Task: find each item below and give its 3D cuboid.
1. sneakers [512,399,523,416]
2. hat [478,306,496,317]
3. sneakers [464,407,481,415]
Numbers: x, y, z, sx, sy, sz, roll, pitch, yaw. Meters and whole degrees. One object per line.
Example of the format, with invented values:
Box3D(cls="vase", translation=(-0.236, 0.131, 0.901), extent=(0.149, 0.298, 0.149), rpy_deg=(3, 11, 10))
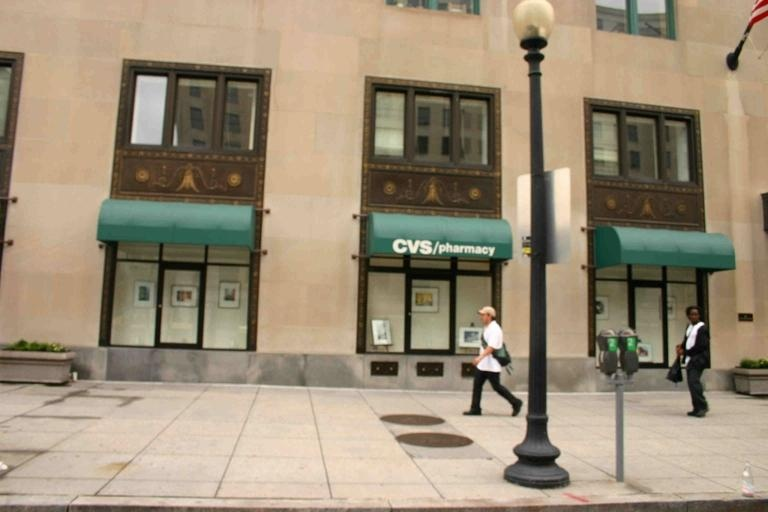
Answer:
Box3D(cls="sneakers", translation=(3.179, 3.597, 19.022), extent=(0.220, 0.167, 0.492), rpy_deg=(3, -44, 0))
Box3D(cls="hat", translation=(2.494, 1.319, 19.174), extent=(0.525, 0.239, 0.343), rpy_deg=(8, 0, 11))
Box3D(cls="sneakers", translation=(2.124, 3.708, 19.120), extent=(0.488, 0.195, 0.162), rpy_deg=(3, -6, 0))
